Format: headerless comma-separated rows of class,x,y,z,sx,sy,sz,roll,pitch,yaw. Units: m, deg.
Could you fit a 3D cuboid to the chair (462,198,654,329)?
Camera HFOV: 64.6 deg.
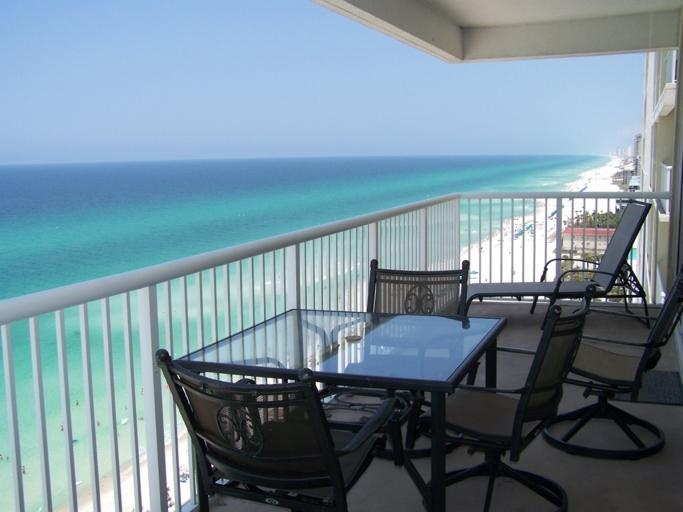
chair,2.142,0.051,5.537,1.676,1.190,0.790,-1,8,13

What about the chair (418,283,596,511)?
chair,0.901,0.628,3.033,0.951,1.428,0.878,5,14,28
